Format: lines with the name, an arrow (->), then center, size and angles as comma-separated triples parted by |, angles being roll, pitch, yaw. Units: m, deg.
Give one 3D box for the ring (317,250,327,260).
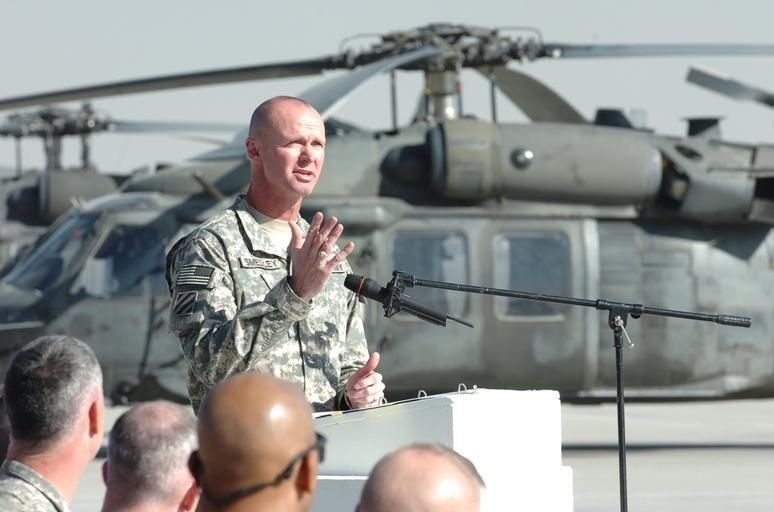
ring -> -0.517, -0.009, 15.488 | 0.091, 0.076, 0.025 | 2, 1, 10
